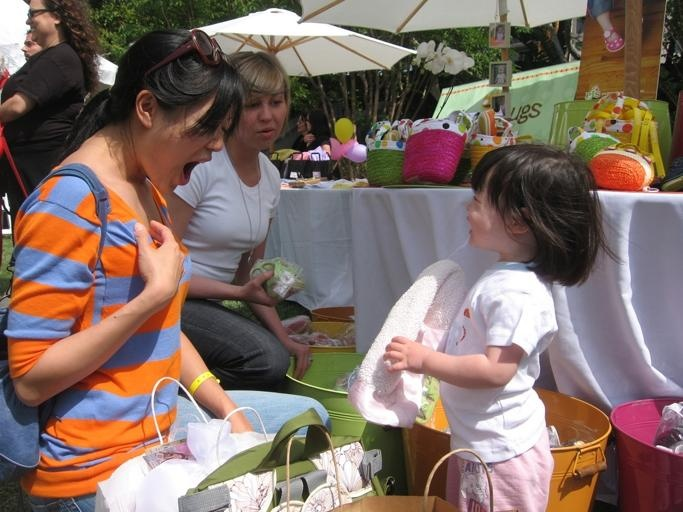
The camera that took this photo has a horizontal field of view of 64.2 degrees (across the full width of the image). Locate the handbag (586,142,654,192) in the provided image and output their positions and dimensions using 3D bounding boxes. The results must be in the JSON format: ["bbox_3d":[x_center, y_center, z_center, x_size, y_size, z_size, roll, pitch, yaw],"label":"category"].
[{"bbox_3d":[1.000,-0.304,1.942,0.217,0.177,0.226,3,5,-28],"label":"handbag"}]

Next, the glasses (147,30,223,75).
[{"bbox_3d":[-0.401,-0.535,1.437,0.150,0.059,0.134,-29,7,4],"label":"glasses"}]

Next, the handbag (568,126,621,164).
[{"bbox_3d":[1.023,-0.466,2.280,0.229,0.121,0.340,0,15,2],"label":"handbag"}]

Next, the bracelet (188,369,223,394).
[{"bbox_3d":[-0.452,0.428,1.807,0.063,0.095,0.095,49,25,20],"label":"bracelet"}]

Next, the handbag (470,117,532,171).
[{"bbox_3d":[0.721,-0.503,2.470,0.284,0.280,0.224,-6,8,-30],"label":"handbag"}]

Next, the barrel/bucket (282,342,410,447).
[{"bbox_3d":[-0.027,0.540,2.211,0.280,0.260,0.331,2,-5,21],"label":"barrel/bucket"}]

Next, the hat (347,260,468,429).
[{"bbox_3d":[0.224,0.222,1.713,0.234,0.244,0.627,0,34,11],"label":"hat"}]

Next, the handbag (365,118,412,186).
[{"bbox_3d":[0.252,-0.491,2.599,0.281,0.316,0.235,4,6,43],"label":"handbag"}]

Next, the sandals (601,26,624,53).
[{"bbox_3d":[1.357,-1.068,2.716,0.049,0.054,0.133,-18,31,17],"label":"sandals"}]

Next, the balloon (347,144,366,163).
[{"bbox_3d":[0.168,-1.009,5.344,0.180,0.185,0.573,-4,11,1],"label":"balloon"}]

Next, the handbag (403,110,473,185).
[{"bbox_3d":[0.421,-0.489,2.438,0.320,0.359,0.271,3,-3,-10],"label":"handbag"}]
